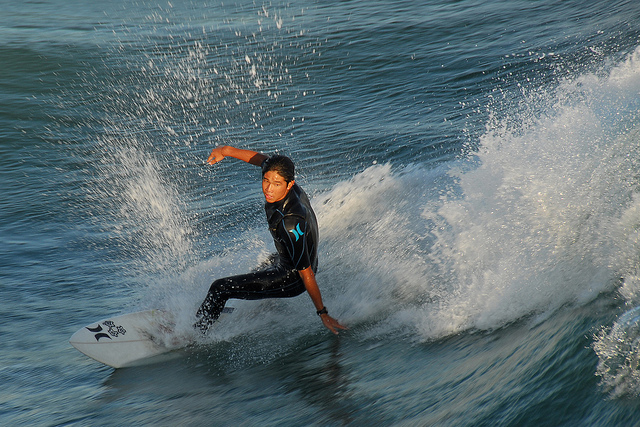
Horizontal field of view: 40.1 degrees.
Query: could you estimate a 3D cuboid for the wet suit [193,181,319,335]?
[{"bbox_3d":[-1.035,0.822,14.192,1.695,2.532,1.071,18,38,-12],"label":"wet suit"}]
